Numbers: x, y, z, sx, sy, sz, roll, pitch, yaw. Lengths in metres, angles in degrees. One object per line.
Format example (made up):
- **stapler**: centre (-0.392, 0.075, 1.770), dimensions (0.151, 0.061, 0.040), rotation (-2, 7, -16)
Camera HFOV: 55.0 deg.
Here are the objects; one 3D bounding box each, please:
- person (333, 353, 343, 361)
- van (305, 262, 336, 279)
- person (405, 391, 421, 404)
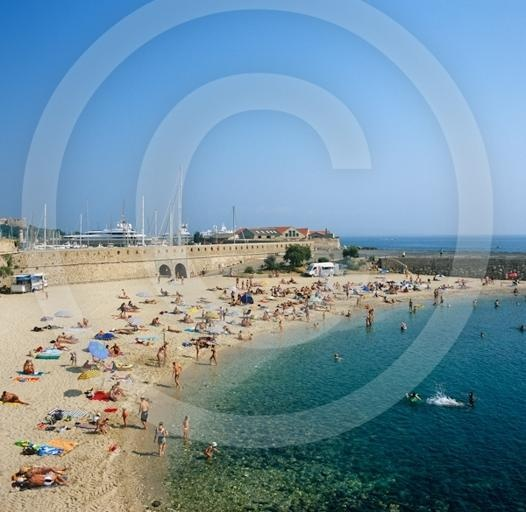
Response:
- **person**: centre (4.765, 6.597, 32.760), dimensions (0.319, 0.334, 0.800), rotation (15, 2, 30)
- **van**: centre (7.573, 2.021, 68.396), dimensions (4.623, 1.591, 1.671), rotation (1, -4, -35)
- **person**: centre (7.710, 7.254, 25.870), dimensions (0.807, 0.270, 0.843), rotation (4, 7, 7)
